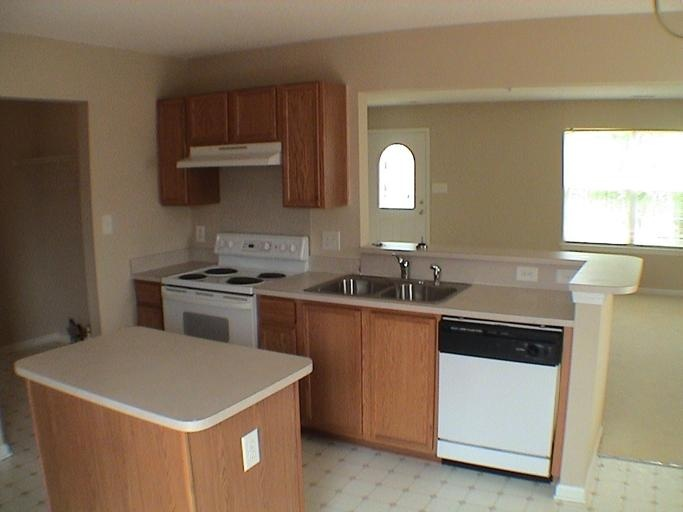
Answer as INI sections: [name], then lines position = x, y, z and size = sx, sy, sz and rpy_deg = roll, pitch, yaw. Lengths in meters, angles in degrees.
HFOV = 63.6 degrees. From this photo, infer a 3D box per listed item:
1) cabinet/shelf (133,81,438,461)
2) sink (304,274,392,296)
[cabinet/shelf]
position = 0.101, 0.042, 3.916
size = 1.390, 2.511, 0.717
rpy_deg = 5, 14, 22
[sink]
position = 0.133, 0.228, 4.157
size = 0.309, 0.125, 0.262
rpy_deg = 7, 15, 32
